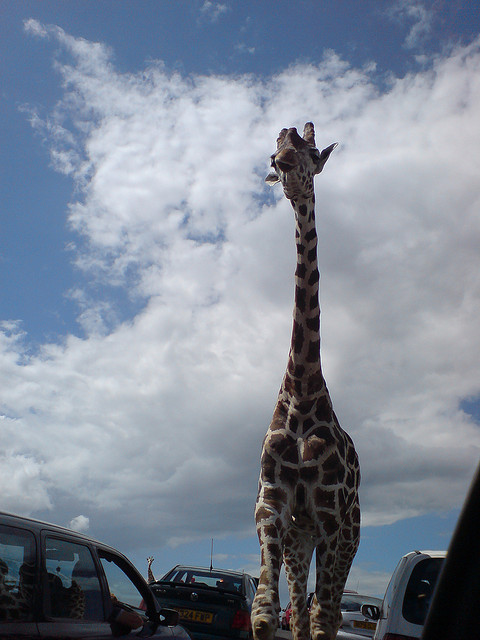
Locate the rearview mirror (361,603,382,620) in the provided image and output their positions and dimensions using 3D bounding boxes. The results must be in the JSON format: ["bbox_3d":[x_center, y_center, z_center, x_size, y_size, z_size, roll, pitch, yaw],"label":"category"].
[{"bbox_3d":[1.072,2.395,6.074,0.178,0.043,0.175,13,-13,16],"label":"rearview mirror"}]

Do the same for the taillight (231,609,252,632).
[{"bbox_3d":[0.004,2.985,7.339,0.186,0.202,0.102,2,-15,-1],"label":"taillight"}]

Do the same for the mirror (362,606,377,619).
[{"bbox_3d":[1.055,2.404,6.062,0.117,0.096,0.130,-1,-15,11],"label":"mirror"}]

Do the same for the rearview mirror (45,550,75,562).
[{"bbox_3d":[-1.065,1.384,4.343,0.024,0.042,0.182,-20,-30,17],"label":"rearview mirror"}]

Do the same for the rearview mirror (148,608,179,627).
[{"bbox_3d":[-0.554,2.193,5.433,0.162,0.084,0.170,-25,-31,25],"label":"rearview mirror"}]

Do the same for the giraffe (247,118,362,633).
[{"bbox_3d":[0.631,0.385,6.623,0.835,4.577,2.007,0,-15,9],"label":"giraffe"}]

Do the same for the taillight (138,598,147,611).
[{"bbox_3d":[-0.719,2.106,5.475,0.065,0.087,0.086,4,-15,-6],"label":"taillight"}]
